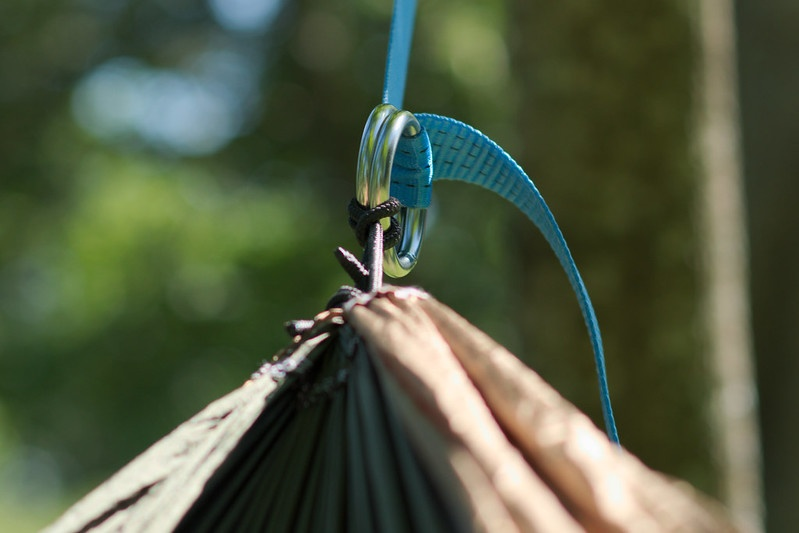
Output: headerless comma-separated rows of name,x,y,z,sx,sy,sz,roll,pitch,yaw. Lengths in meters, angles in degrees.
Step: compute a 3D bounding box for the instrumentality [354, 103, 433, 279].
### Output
instrumentality,-0.005,-0.165,2.155,0.102,0.292,0.192,-2,3,41
